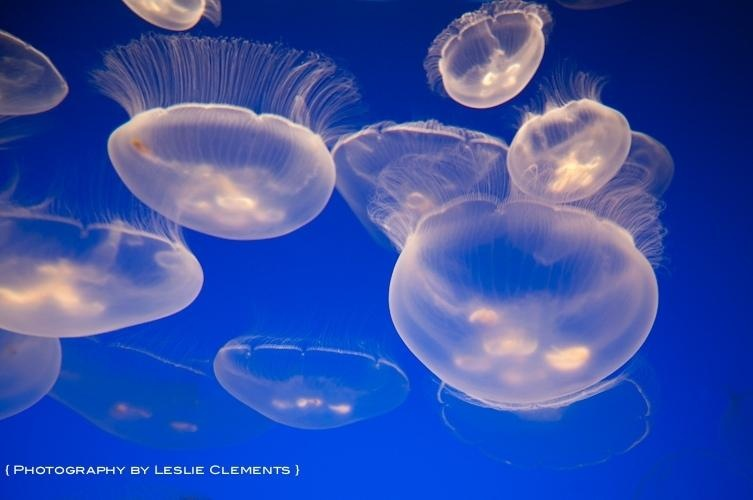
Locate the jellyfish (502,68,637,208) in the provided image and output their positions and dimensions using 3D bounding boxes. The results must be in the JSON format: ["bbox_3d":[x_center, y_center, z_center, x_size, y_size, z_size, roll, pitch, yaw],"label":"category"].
[{"bbox_3d":[1.626,-0.996,7.368,0.948,0.608,1.065,-13,-68,-36],"label":"jellyfish"}]

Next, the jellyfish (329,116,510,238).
[{"bbox_3d":[0.381,-0.701,7.544,1.353,1.321,1.071,-8,-78,-12],"label":"jellyfish"}]

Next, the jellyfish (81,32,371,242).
[{"bbox_3d":[-1.224,-1.125,8.033,2.009,2.794,1.884,6,-24,3],"label":"jellyfish"}]

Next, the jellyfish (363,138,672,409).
[{"bbox_3d":[1.193,0.320,7.308,2.377,0.722,2.196,12,-60,3],"label":"jellyfish"}]
